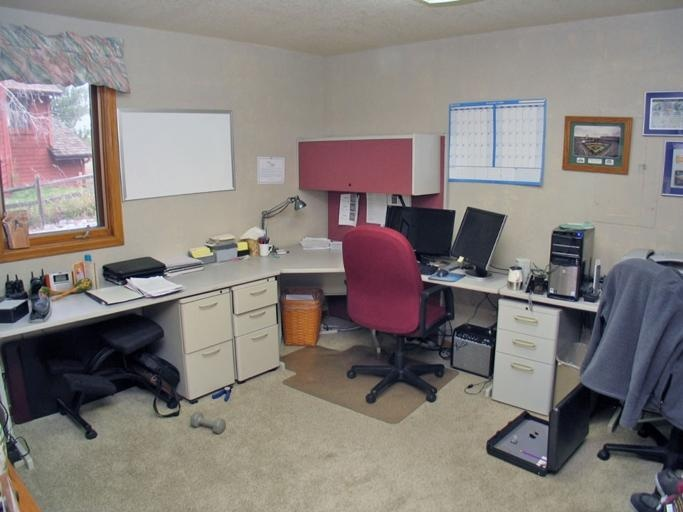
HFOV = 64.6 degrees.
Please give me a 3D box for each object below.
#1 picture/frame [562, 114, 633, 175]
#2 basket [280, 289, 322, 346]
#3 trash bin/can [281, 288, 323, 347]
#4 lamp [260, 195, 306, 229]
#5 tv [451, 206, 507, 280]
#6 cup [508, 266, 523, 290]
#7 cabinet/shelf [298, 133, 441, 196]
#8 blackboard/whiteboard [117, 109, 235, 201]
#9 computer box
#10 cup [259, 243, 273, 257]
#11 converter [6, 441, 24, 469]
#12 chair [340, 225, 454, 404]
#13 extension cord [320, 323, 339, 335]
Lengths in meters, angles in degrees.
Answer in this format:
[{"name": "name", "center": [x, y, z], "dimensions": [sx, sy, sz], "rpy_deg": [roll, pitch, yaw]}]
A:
[{"name": "picture/frame", "center": [1.822, -0.787, 3.804], "dimensions": [0.405, 0.372, 0.031], "rpy_deg": [12, 17, 36]}, {"name": "basket", "center": [-0.362, 0.538, 4.898], "dimensions": [0.348, 0.364, 0.464], "rpy_deg": [1, 1, 4]}, {"name": "trash bin/can", "center": [-0.352, 0.554, 4.721], "dimensions": [0.351, 0.380, 0.464], "rpy_deg": [0, 1, 5]}, {"name": "lamp", "center": [-0.538, -0.401, 4.982], "dimensions": [0.495, 0.267, 0.101], "rpy_deg": [-15, 20, -43]}, {"name": "tv", "center": [1.075, -0.087, 4.174], "dimensions": [0.170, 0.482, 0.464], "rpy_deg": [0, 15, -27]}, {"name": "cup", "center": [1.238, 0.154, 3.827], "dimensions": [0.088, 0.143, 0.145], "rpy_deg": [8, 17, 33]}, {"name": "cabinet/shelf", "center": [0.166, -0.807, 4.804], "dimensions": [1.209, 0.486, 0.359], "rpy_deg": [7, 14, 32]}, {"name": "blackboard/whiteboard", "center": [-1.344, -0.802, 4.262], "dimensions": [0.019, 0.527, 0.750], "rpy_deg": [9, 15, 44]}, {"name": "computer box", "center": [1.591, 0.023, 3.729], "dimensions": [0.262, 0.449, 0.460], "rpy_deg": [7, 16, 27]}, {"name": "cup", "center": [-0.657, -0.040, 4.709], "dimensions": [0.103, 0.079, 0.083], "rpy_deg": [3, 9, 23]}, {"name": "converter", "center": [-1.981, 1.192, 3.259], "dimensions": [0.066, 0.127, 0.091], "rpy_deg": [-15, 20, -43]}, {"name": "chair", "center": [0.401, 0.370, 3.942], "dimensions": [0.773, 1.261, 0.588], "rpy_deg": [-3, 15, -7]}, {"name": "extension cord", "center": [-0.113, 0.685, 5.038], "dimensions": [0.124, 0.060, 0.095], "rpy_deg": [2, 10, 4]}]
